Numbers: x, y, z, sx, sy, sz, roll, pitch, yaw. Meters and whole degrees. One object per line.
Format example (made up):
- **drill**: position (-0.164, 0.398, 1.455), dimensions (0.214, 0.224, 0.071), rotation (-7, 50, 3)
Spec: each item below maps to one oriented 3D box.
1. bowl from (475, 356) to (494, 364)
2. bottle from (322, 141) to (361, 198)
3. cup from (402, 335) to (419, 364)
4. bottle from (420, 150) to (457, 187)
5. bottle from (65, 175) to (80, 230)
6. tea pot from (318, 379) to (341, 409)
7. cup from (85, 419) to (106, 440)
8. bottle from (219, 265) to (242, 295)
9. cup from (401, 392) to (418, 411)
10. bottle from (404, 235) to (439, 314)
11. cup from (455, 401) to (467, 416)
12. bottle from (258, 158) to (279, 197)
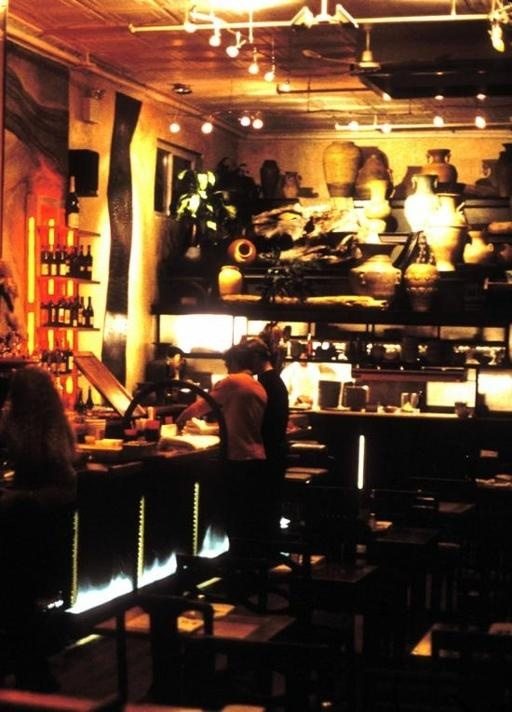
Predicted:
- **bowl**: position (2.285, 0.046, 7.861), dimensions (0.157, 0.107, 0.266), rotation (-1, -2, 19)
- **bottle**: position (0.952, -2.014, 8.728), dimensions (0.407, 0.617, 0.292), rotation (0, -2, 4)
- **cup**: position (1.560, -0.070, 8.011), dimensions (0.161, 0.242, 0.070), rotation (0, -2, 8)
- **bottle**: position (1.990, -2.020, 8.564), dimensions (0.327, 0.445, 0.367), rotation (-1, -2, 19)
- **bottle**: position (-1.500, -1.244, 6.447), dimensions (0.094, 0.496, 0.363), rotation (1, -2, -14)
- **tea pot**: position (0.744, 0.391, 7.933), dimensions (0.262, 0.282, 0.247), rotation (1, -6, 0)
- **cup**: position (-1.124, 0.503, 5.631), dimensions (0.191, 0.180, 0.190), rotation (0, -3, 0)
- **bottle**: position (-0.269, -0.788, 8.391), dimensions (0.255, 0.350, 0.219), rotation (0, -2, -4)
- **cup**: position (1.531, 0.469, 7.927), dimensions (0.216, 0.213, 0.133), rotation (-1, -6, 11)
- **bottle**: position (1.651, -0.831, 7.866), dimensions (0.319, 0.792, 0.379), rotation (-1, -2, 16)
- **cup**: position (1.883, 0.499, 7.319), dimensions (0.118, 0.128, 0.114), rotation (1, -4, 0)
- **bottle**: position (0.173, -2.070, 9.346), dimensions (0.233, 0.503, 0.226), rotation (0, -2, 0)
